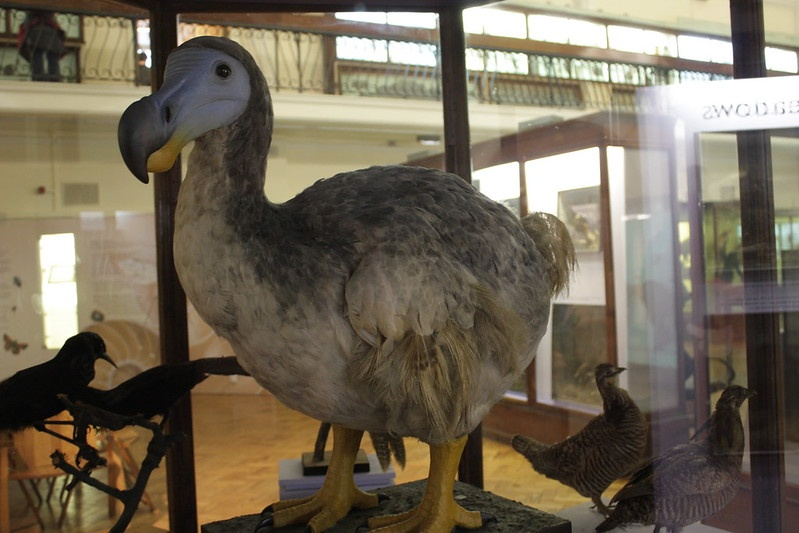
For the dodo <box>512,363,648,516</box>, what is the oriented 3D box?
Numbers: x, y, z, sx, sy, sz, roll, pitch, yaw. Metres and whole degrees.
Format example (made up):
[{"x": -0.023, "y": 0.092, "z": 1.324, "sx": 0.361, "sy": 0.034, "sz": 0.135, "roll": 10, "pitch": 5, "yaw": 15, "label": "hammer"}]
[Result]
[{"x": 0.897, "y": 0.768, "z": 4.868, "sx": 0.653, "sy": 0.760, "sz": 0.394, "roll": -5, "pitch": -1, "yaw": 24, "label": "dodo"}]

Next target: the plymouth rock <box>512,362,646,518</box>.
[{"x": 0.825, "y": 0.785, "z": 4.672, "sx": 0.623, "sy": 0.683, "sz": 0.361, "roll": -3, "pitch": 5, "yaw": 24, "label": "plymouth rock"}]
